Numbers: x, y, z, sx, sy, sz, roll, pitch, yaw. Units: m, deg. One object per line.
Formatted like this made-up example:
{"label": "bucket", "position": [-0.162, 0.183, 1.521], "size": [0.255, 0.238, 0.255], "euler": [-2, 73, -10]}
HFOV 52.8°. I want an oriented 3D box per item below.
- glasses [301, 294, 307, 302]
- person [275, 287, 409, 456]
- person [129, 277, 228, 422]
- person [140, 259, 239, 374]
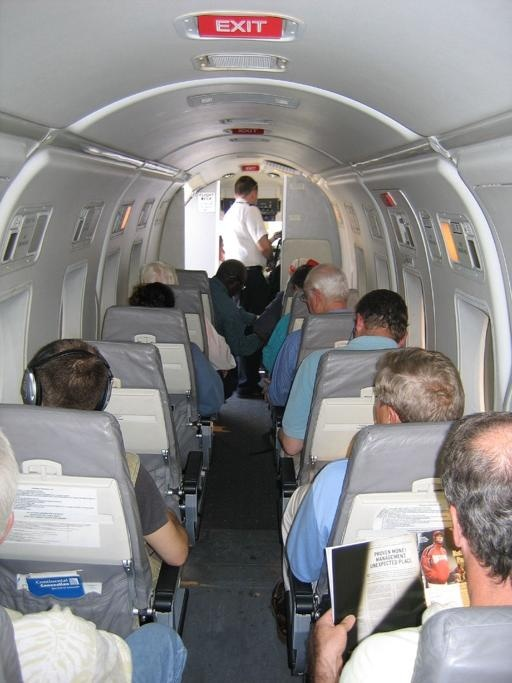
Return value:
{"label": "glasses", "position": [0.439, -0.393, 4.684], "size": [0.060, 0.069, 0.024], "euler": [2, 15, 11]}
{"label": "person", "position": [0.578, 0.101, 3.262], "size": [0.872, 1.109, 0.981], "euler": [0, 17, -7]}
{"label": "person", "position": [-0.761, 0.003, 4.746], "size": [0.947, 1.381, 1.186], "euler": [1, 12, 6]}
{"label": "person", "position": [-0.897, -0.302, 5.482], "size": [0.955, 1.341, 1.105], "euler": [3, 16, 14]}
